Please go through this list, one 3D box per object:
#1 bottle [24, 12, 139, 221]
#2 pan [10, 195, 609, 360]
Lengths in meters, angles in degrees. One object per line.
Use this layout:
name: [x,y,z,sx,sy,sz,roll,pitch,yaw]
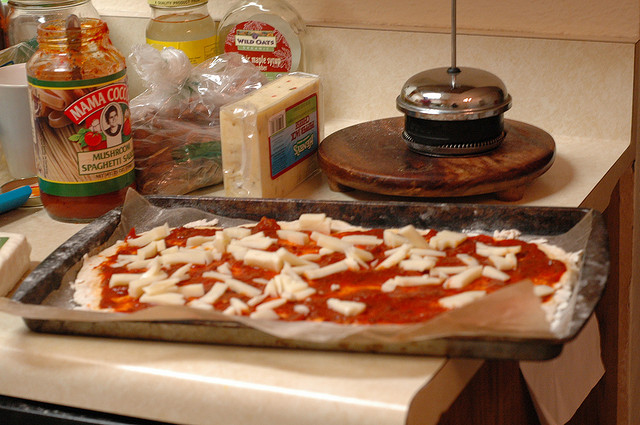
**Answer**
bottle: [-0.413,-0.162,0.890,0.205,0.288,0.193,2,20,-1]
pan: [-0.004,0.062,0.713,0.753,0.067,0.322,4,31,10]
